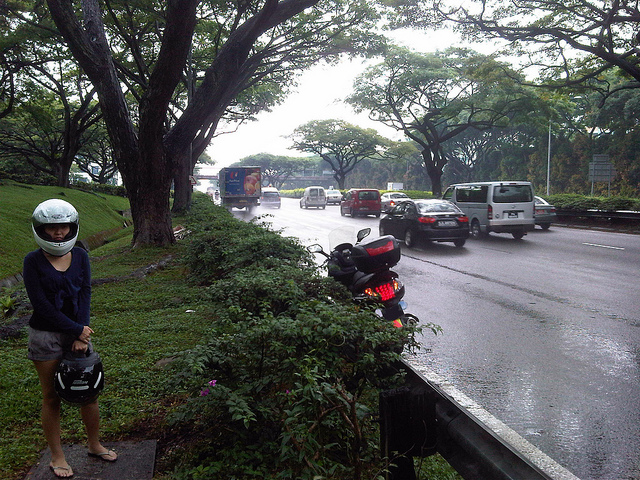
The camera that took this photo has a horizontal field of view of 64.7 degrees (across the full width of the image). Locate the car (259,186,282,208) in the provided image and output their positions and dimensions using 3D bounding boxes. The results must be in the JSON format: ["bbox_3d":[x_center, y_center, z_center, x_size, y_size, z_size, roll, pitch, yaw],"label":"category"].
[{"bbox_3d":[-4.200,-3.798,43.857,1.291,1.477,2.638,-2,8,-26],"label":"car"}]

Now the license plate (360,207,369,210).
[{"bbox_3d":[2.585,-1.861,29.212,0.483,0.111,0.034,0,7,-13],"label":"license plate"}]

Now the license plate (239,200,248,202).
[{"bbox_3d":[-5.371,-2.810,35.766,0.521,0.141,0.054,0,7,-10],"label":"license plate"}]

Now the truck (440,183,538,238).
[{"bbox_3d":[5.901,-1.205,18.077,1.740,1.469,2.946,1,8,-9],"label":"truck"}]

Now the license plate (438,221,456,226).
[{"bbox_3d":[3.771,-0.515,15.112,0.525,0.133,0.045,0,7,-8],"label":"license plate"}]

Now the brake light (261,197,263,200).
[{"bbox_3d":[-4.961,-3.690,43.885,0.233,0.289,0.281,-1,-1,-4],"label":"brake light"}]

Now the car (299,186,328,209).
[{"bbox_3d":[-0.469,-3.390,39.931,1.820,1.638,2.116,1,7,-3],"label":"car"}]

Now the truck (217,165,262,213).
[{"bbox_3d":[-5.856,-3.956,37.498,2.596,3.256,5.037,-1,8,-8],"label":"truck"}]

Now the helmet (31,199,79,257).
[{"bbox_3d":[-2.252,-0.118,4.380,0.359,0.446,0.487,-3,6,-26],"label":"helmet"}]

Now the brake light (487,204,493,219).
[{"bbox_3d":[5.583,-0.948,16.682,0.182,0.455,0.054,5,7,30],"label":"brake light"}]

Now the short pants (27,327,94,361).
[{"bbox_3d":[-2.185,0.806,4.269,0.354,0.370,0.333,-4,-8,38],"label":"short pants"}]

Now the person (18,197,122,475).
[{"bbox_3d":[-2.334,0.745,4.672,0.630,2.268,1.401,-3,8,-31],"label":"person"}]

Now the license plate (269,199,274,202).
[{"bbox_3d":[-4.094,-3.453,43.438,0.301,0.218,0.163,-1,-2,17],"label":"license plate"}]

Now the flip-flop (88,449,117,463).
[{"bbox_3d":[-1.869,1.868,4.390,0.243,0.069,0.092,15,12,11],"label":"flip-flop"}]

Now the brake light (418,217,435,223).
[{"bbox_3d":[3.181,-0.620,15.161,0.468,0.165,0.085,4,7,19],"label":"brake light"}]

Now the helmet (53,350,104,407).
[{"bbox_3d":[-2.044,1.089,4.352,0.369,0.446,0.523,5,27,-23],"label":"helmet"}]

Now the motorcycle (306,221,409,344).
[{"bbox_3d":[0.526,0.490,6.793,0.916,1.242,2.006,-19,12,-19],"label":"motorcycle"}]

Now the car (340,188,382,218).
[{"bbox_3d":[2.375,-2.206,29.756,2.303,1.626,1.370,4,7,23],"label":"car"}]
